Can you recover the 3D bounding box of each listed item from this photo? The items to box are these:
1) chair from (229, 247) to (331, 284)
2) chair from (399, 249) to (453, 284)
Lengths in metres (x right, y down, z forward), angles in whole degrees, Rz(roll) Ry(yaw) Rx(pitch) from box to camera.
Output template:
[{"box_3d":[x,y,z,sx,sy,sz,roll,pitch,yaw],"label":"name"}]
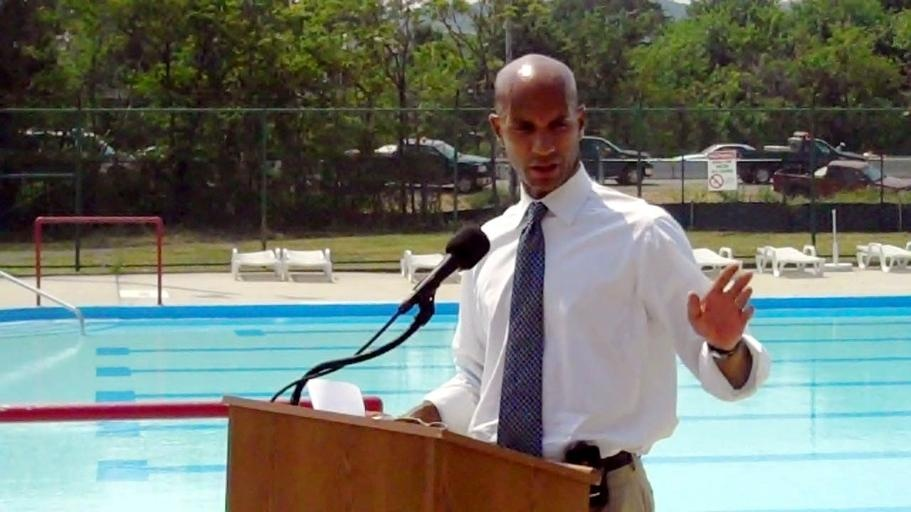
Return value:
[{"box_3d":[-4.553,0.219,37.918,2.661,0.808,1.557,-1,4,-8],"label":"chair"},{"box_3d":[-0.927,0.230,37.496,1.011,0.693,1.076,-1,7,1],"label":"chair"}]
